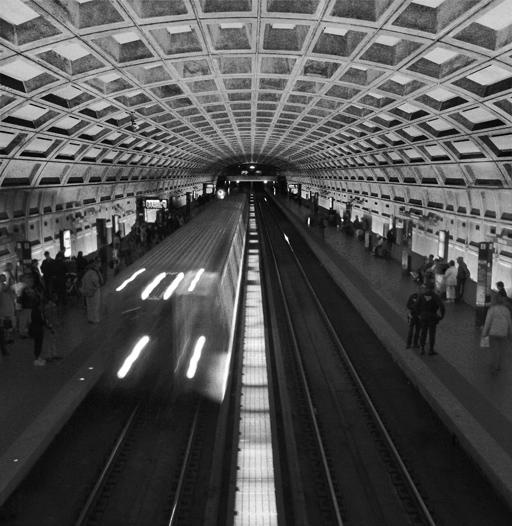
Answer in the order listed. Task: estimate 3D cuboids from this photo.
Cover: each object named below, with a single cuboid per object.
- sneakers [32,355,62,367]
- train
[{"bbox_3d":[-4.596,2.154,8.231,0.354,0.182,0.131,-8,27,-26],"label":"sneakers"},{"bbox_3d":[-1.627,0.380,10.727,1.435,2.233,8.446,1,17,1],"label":"train"}]
